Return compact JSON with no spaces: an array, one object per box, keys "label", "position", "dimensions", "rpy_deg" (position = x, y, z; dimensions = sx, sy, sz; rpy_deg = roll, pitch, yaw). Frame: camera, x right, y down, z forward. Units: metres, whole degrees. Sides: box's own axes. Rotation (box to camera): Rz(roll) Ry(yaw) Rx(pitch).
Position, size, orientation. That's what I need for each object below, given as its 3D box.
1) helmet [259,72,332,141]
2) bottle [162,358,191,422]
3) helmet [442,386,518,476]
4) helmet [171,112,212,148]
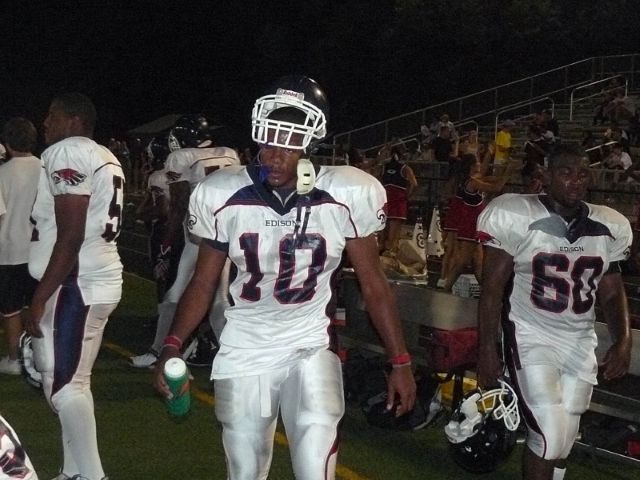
[{"label":"helmet","position":[-0.128,-0.541,2.056],"dimensions":[0.291,0.285,0.383],"rpy_deg":[11,16,-6]},{"label":"bottle","position":[-0.548,0.574,1.943],"dimensions":[0.106,0.291,0.211],"rpy_deg":[1,7,-14]},{"label":"helmet","position":[0.892,1.018,2.688],"dimensions":[0.367,0.539,0.267],"rpy_deg":[-1,7,-31]},{"label":"helmet","position":[-1.350,-1.163,5.256],"dimensions":[0.422,0.400,0.337],"rpy_deg":[-7,30,-12]}]
